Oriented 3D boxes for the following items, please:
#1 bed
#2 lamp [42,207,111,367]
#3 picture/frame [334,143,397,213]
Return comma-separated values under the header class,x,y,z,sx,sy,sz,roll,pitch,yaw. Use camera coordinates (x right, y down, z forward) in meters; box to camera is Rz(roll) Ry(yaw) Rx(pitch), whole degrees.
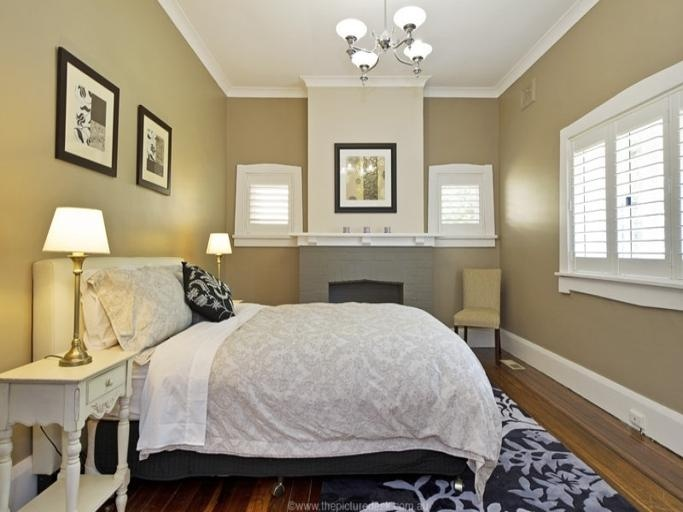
class,x,y,z,sx,sy,sz,roll,pitch,yaw
bed,-0.148,0.863,3.520,2.021,1.193,1.912,-1,-1,-6
lamp,-1.698,0.164,3.088,0.344,0.965,0.515,-3,3,-33
picture/frame,0.307,-0.950,5.890,0.699,0.887,0.058,0,-2,-2
